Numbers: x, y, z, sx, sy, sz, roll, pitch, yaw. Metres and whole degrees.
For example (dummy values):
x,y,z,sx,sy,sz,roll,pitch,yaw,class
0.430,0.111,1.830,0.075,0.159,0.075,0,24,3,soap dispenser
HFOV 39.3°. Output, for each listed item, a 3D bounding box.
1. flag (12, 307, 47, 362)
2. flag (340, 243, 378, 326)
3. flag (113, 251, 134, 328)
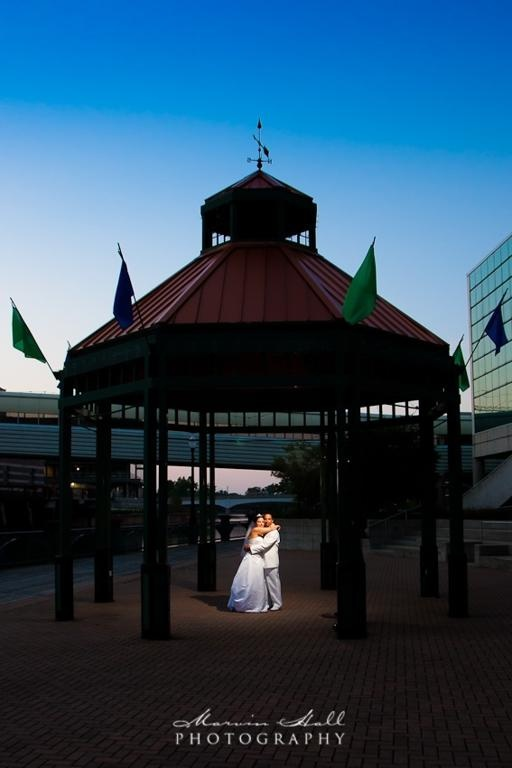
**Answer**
x,y,z,sx,sy,sz,roll,pitch,yaw,class
-4.213,-0.973,13.050,0.508,1.743,0.094,7,-51,-35,flag
1.561,-1.451,10.369,0.390,0.098,1.357,20,-46,15,flag
-2.041,-1.430,10.996,0.291,0.273,1.668,10,-39,-3,flag
